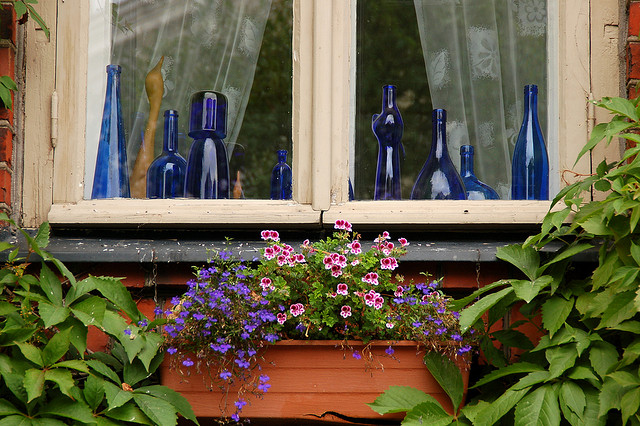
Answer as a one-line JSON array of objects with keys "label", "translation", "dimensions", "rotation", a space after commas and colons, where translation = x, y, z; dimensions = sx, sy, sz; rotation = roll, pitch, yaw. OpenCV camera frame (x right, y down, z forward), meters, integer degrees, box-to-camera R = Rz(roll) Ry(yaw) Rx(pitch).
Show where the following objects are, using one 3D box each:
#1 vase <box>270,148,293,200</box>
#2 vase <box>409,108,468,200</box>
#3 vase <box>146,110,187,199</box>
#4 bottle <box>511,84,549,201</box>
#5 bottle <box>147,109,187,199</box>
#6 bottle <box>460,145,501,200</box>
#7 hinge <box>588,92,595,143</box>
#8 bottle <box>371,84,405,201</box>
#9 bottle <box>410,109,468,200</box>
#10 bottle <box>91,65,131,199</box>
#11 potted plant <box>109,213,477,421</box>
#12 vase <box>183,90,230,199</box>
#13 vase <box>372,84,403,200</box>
[{"label": "vase", "translation": [-0.144, -0.142, 4.500], "dimensions": [0.080, 0.185, 0.040], "rotation": [-3, -5, 4]}, {"label": "vase", "translation": [0.425, -0.207, 4.547], "dimensions": [0.123, 0.295, 0.172], "rotation": [-3, -3, -11]}, {"label": "vase", "translation": [-0.553, -0.193, 4.574], "dimensions": [0.130, 0.341, 0.133], "rotation": [0, -9, 19]}, {"label": "bottle", "translation": [0.756, -0.243, 4.570], "dimensions": [0.105, 0.436, 0.117], "rotation": [-5, 2, -10]}, {"label": "bottle", "translation": [-0.555, -0.220, 4.514], "dimensions": [0.096, 0.285, 0.118], "rotation": [-3, 0, -5]}, {"label": "bottle", "translation": [0.548, -0.138, 4.541], "dimensions": [0.163, 0.219, 0.162], "rotation": [-1, 3, 0]}, {"label": "hinge", "translation": [0.956, -0.346, 4.431], "dimensions": [0.030, 0.165, 0.058], "rotation": [-4, -5, 12]}, {"label": "bottle", "translation": [0.240, -0.254, 4.514], "dimensions": [0.099, 0.404, 0.122], "rotation": [-1, -2, -9]}, {"label": "bottle", "translation": [0.433, -0.141, 4.606], "dimensions": [0.225, 0.479, 0.224], "rotation": [1, -5, 0]}, {"label": "bottle", "translation": [-0.754, -0.269, 4.548], "dimensions": [0.135, 0.483, 0.128], "rotation": [-1, -5, 0]}, {"label": "potted plant", "translation": [-0.011, 0.380, 4.413], "dimensions": [1.094, 0.435, 0.726], "rotation": [0, 18, 1]}, {"label": "vase", "translation": [-0.415, -0.227, 4.607], "dimensions": [0.163, 0.420, 0.164], "rotation": [1, 1, 1]}, {"label": "vase", "translation": [0.246, -0.260, 4.555], "dimensions": [0.110, 0.415, 0.061], "rotation": [-4, -5, 6]}]
